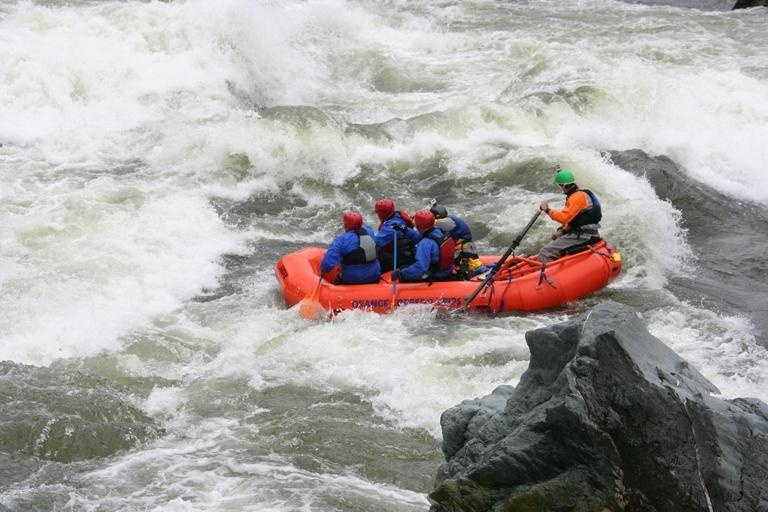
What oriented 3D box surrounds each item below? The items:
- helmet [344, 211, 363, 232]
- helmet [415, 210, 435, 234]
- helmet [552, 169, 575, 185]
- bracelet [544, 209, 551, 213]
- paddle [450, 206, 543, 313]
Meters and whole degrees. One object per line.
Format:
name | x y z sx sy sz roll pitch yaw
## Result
helmet | -0.647 -0.766 22.732 0.384 0.388 0.437 -8 30 -19
helmet | 0.770 -0.783 22.655 0.428 0.448 0.475 -14 42 -20
helmet | 3.807 -1.704 23.116 0.431 0.260 0.558 -12 22 -25
bracelet | 3.503 -0.988 22.987 0.182 0.047 0.162 1 17 3
paddle | 2.481 0.170 23.513 0.282 3.467 0.494 52 8 11
